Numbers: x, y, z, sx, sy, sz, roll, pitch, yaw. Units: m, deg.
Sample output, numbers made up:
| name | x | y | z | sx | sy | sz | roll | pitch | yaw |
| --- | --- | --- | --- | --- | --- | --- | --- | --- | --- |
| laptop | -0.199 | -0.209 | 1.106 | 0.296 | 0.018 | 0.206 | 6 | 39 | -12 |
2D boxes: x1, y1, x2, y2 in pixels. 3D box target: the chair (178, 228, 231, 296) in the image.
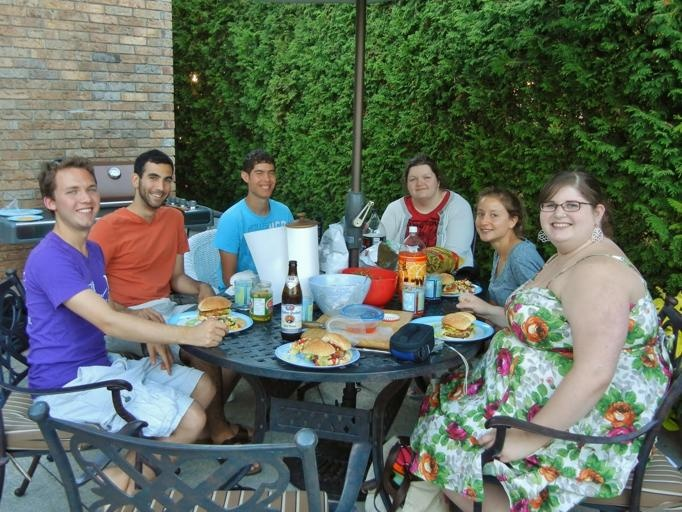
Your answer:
| name | x | y | z | sx | sy | sz | roll | pitch | yaw |
| --- | --- | --- | --- | --- | --- | --- | --- | --- | --- |
| chair | -0.869 | 0.024 | 3.597 | 0.309 | 0.432 | 0.331 | -7 | 19 | -31 |

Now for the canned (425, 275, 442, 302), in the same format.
| name | x | y | z | sx | sy | sz | roll | pitch | yaw |
| --- | --- | --- | --- | --- | --- | --- | --- | --- | --- |
| canned | 0.443 | 0.154 | 2.669 | 0.117 | 0.118 | 0.112 | -4 | 12 | -20 |

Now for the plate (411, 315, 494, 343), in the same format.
| name | x | y | z | sx | sy | sz | roll | pitch | yaw |
| --- | --- | --- | --- | --- | --- | --- | --- | --- | --- |
| plate | 0.502 | 0.271 | 2.326 | 0.346 | 0.088 | 0.341 | 1 | 7 | 18 |

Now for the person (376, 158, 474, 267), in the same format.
| name | x | y | z | sx | sy | sz | roll | pitch | yaw |
| --- | --- | --- | --- | --- | --- | --- | --- | --- | --- |
| person | 0.644 | -0.390 | 4.025 | 0.689 | 0.839 | 0.809 | 3 | 10 | 28 |

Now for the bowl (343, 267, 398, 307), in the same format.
| name | x | y | z | sx | sy | sz | roll | pitch | yaw |
| --- | --- | --- | --- | --- | --- | --- | --- | --- | --- |
| bowl | 0.138 | 0.108 | 2.565 | 0.262 | 0.170 | 0.226 | -7 | 14 | -28 |

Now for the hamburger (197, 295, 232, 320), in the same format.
| name | x | y | z | sx | sy | sz | roll | pitch | yaw |
| --- | --- | --- | --- | --- | --- | --- | --- | --- | --- |
| hamburger | -0.534 | 0.217 | 2.384 | 0.104 | 0.054 | 0.097 | 2 | 9 | -2 |

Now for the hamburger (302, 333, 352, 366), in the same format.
| name | x | y | z | sx | sy | sz | roll | pitch | yaw |
| --- | --- | --- | --- | --- | --- | --- | --- | --- | --- |
| hamburger | -0.059 | 0.341 | 2.036 | 0.186 | 0.085 | 0.147 | 0 | 13 | 0 |

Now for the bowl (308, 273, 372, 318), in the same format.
| name | x | y | z | sx | sy | sz | roll | pitch | yaw |
| --- | --- | --- | --- | --- | --- | --- | --- | --- | --- |
| bowl | -0.023 | 0.137 | 2.385 | 0.281 | 0.167 | 0.241 | -2 | 14 | -16 |

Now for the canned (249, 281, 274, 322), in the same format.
| name | x | y | z | sx | sy | sz | roll | pitch | yaw |
| --- | --- | --- | --- | --- | --- | --- | --- | --- | --- |
| canned | -0.353 | 0.202 | 2.432 | 0.148 | 0.168 | 0.140 | 4 | 4 | 3 |

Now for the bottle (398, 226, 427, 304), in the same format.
| name | x | y | z | sx | sy | sz | roll | pitch | yaw |
| --- | --- | --- | --- | --- | --- | --- | --- | --- | --- |
| bottle | 0.334 | 0.033 | 2.590 | 0.149 | 0.348 | 0.164 | 9 | 16 | 12 |

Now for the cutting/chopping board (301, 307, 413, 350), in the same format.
| name | x | y | z | sx | sy | sz | roll | pitch | yaw |
| --- | --- | --- | --- | --- | --- | --- | --- | --- | --- |
| cutting/chopping board | 0.060 | 0.254 | 2.309 | 0.401 | 0.117 | 0.354 | 4 | 11 | 22 |
